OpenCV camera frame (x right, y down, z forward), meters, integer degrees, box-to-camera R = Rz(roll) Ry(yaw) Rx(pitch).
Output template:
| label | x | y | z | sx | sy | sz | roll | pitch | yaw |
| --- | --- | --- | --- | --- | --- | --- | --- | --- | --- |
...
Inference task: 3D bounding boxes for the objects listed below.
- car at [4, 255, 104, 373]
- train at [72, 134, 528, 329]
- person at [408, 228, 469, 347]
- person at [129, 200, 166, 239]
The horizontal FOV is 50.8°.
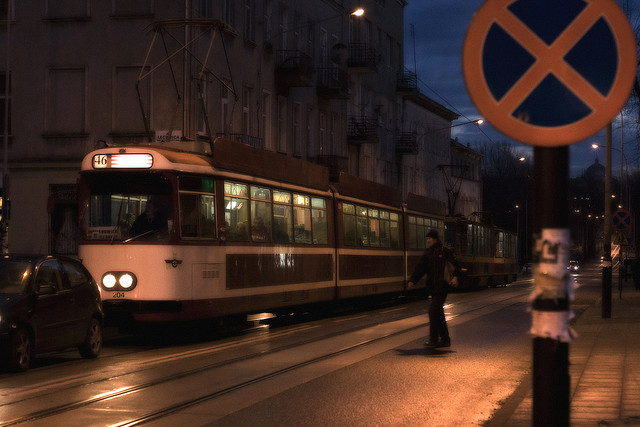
| label | x | y | z | sx | sy | sz | roll | pitch | yaw |
| --- | --- | --- | --- | --- | --- | --- | --- | --- | --- |
| car | -4.865 | 1.652 | 12.045 | 1.139 | 1.149 | 2.046 | -6 | -13 | 10 |
| train | 5.091 | 1.819 | 33.320 | 2.926 | 4.878 | 42.089 | -11 | -10 | 26 |
| person | 2.476 | 1.598 | 14.292 | 0.991 | 2.469 | 0.529 | -9 | -8 | 11 |
| person | -3.842 | 0.149 | 15.009 | 0.651 | 1.043 | 0.350 | -1 | -14 | 8 |
